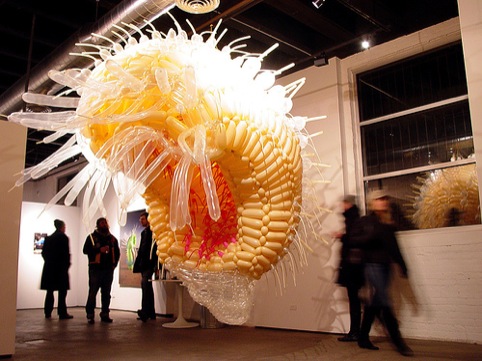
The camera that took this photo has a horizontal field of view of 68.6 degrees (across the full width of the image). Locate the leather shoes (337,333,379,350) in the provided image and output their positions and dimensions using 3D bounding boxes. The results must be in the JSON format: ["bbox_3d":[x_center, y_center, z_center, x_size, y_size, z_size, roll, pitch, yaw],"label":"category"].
[{"bbox_3d":[0.982,1.379,3.032,0.111,0.171,0.360,5,-13,-34],"label":"leather shoes"}]

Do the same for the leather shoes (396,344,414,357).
[{"bbox_3d":[1.146,1.190,2.468,0.117,0.078,0.048,28,-12,-7],"label":"leather shoes"}]

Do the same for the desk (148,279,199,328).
[{"bbox_3d":[-0.922,1.789,5.202,0.591,0.636,0.618,17,-33,-36],"label":"desk"}]

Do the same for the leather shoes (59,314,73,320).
[{"bbox_3d":[-3.052,2.388,6.149,0.234,0.120,0.087,3,-7,-19],"label":"leather shoes"}]

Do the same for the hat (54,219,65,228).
[{"bbox_3d":[-3.277,0.807,6.429,0.129,0.197,0.190,2,-29,-10],"label":"hat"}]

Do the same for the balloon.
[{"bbox_3d":[-0.324,-0.075,2.059,1.674,1.776,0.750,6,-15,-26],"label":"balloon"}]

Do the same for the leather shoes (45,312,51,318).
[{"bbox_3d":[-3.461,2.419,6.348,0.069,0.087,0.187,0,-10,4],"label":"leather shoes"}]

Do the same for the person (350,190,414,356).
[{"bbox_3d":[1.024,0.681,2.601,0.349,1.124,0.472,-5,-14,18],"label":"person"}]
